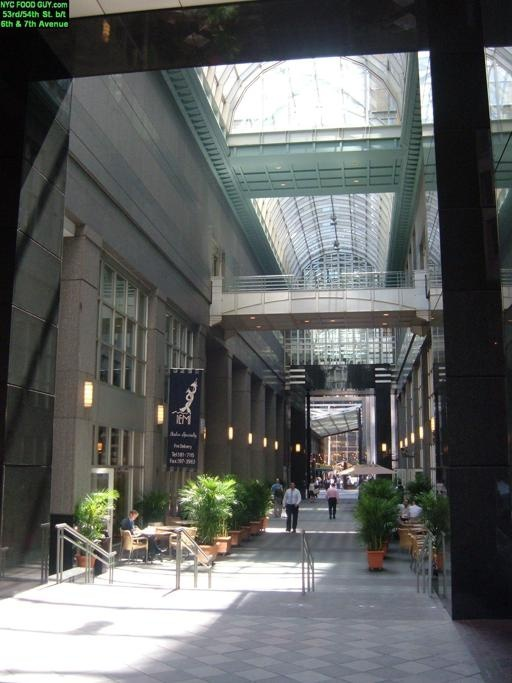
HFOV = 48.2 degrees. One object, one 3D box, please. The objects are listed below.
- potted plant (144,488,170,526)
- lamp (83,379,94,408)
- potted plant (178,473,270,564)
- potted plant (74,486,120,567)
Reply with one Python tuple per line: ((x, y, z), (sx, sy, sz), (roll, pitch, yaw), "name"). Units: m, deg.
((-2.798, 4.623, 15.956), (0.655, 0.835, 0.744), (2, -16, -5), "potted plant")
((-3.567, 1.116, 12.105), (0.155, 0.559, 0.270), (1, -12, -1), "lamp")
((-0.872, 4.373, 15.097), (2.560, 2.274, 3.028), (0, -14, 6), "potted plant")
((-3.158, 3.621, 11.115), (0.456, 0.994, 0.512), (-3, -14, -29), "potted plant")
